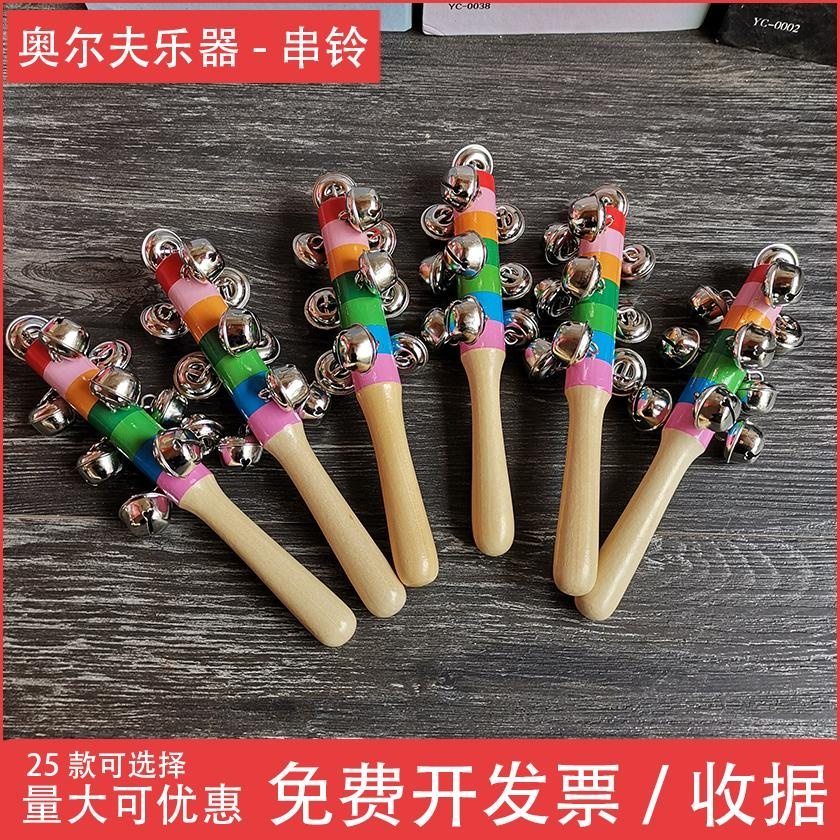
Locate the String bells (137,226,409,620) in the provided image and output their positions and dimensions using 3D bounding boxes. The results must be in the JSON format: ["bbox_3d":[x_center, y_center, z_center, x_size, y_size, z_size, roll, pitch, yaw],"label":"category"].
[{"bbox_3d":[-0.192,0.023,1.148,0.100,0.678,0.112,-45,-9,-7],"label":"String bells"}]

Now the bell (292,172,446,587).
[{"bbox_3d":[-0.075,-0.067,1.169,0.205,0.536,0.163,-15,2,-14],"label":"bell"}]

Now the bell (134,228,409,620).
[{"bbox_3d":[-0.194,0.025,1.148,0.097,0.680,0.102,-45,-9,-4],"label":"bell"}]

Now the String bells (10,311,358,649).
[{"bbox_3d":[-0.308,0.096,1.146,0.076,0.665,0.086,-53,-8,-10],"label":"String bells"}]

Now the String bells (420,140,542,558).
[{"bbox_3d":[0.097,-0.112,1.188,0.218,0.572,0.170,-3,-13,5],"label":"String bells"}]

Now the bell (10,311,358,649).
[{"bbox_3d":[-0.308,0.096,1.146,0.076,0.665,0.086,-53,-8,-10],"label":"bell"}]

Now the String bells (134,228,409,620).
[{"bbox_3d":[-0.194,0.025,1.148,0.097,0.680,0.102,-45,-9,-4],"label":"String bells"}]

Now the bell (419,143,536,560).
[{"bbox_3d":[0.076,-0.093,1.185,0.217,0.500,0.151,-5,6,-6],"label":"bell"}]

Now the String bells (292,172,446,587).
[{"bbox_3d":[-0.071,-0.060,1.172,0.205,0.536,0.163,-15,2,-14],"label":"String bells"}]

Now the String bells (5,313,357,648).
[{"bbox_3d":[-0.311,0.096,1.146,0.075,0.658,0.085,-53,-7,-11],"label":"String bells"}]

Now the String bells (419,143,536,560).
[{"bbox_3d":[0.069,-0.095,1.189,0.217,0.500,0.151,-5,6,-6],"label":"String bells"}]

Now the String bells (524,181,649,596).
[{"bbox_3d":[0.212,-0.055,1.189,0.229,0.509,0.176,4,-1,-4],"label":"String bells"}]

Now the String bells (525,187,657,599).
[{"bbox_3d":[0.206,-0.038,1.186,0.224,0.517,0.174,4,-1,-10],"label":"String bells"}]

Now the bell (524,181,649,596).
[{"bbox_3d":[0.201,-0.033,1.188,0.229,0.509,0.176,4,-1,-4],"label":"bell"}]
